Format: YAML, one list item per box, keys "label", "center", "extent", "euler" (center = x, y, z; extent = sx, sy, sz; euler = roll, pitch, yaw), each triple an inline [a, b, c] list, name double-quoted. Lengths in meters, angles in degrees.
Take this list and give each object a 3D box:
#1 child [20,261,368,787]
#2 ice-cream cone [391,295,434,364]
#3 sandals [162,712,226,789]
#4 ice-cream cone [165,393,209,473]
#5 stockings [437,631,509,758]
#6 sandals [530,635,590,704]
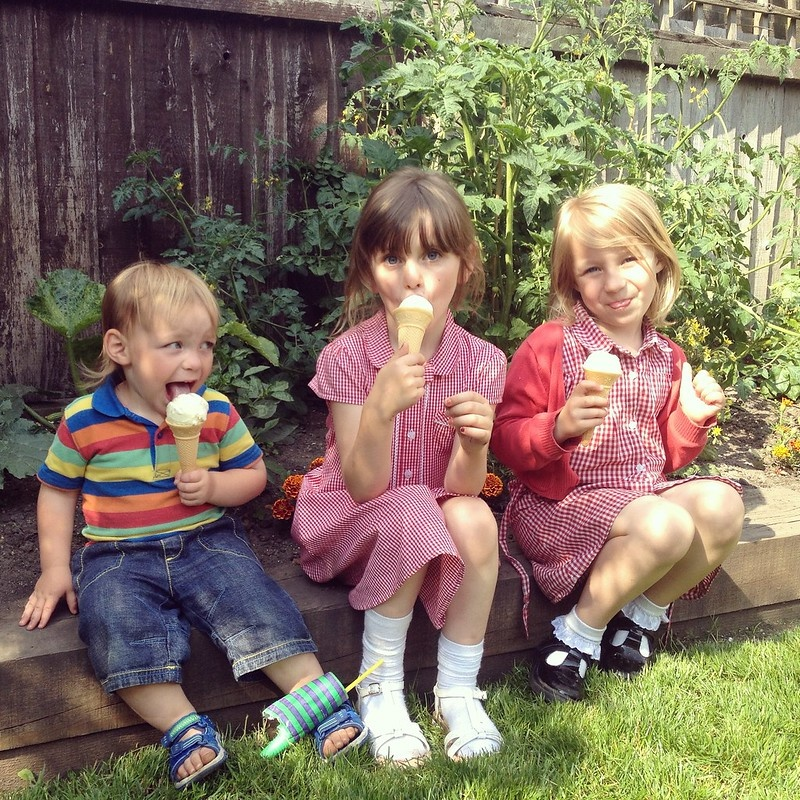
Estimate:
- label: "child"
  center: [-0.519, 0.278, 2.143]
  extent: [1.127, 1.232, 0.737]
  euler: [15, 13, 41]
- label: "ice-cream cone"
  center: [0.035, -0.208, 2.114]
  extent: [0.098, 0.139, 0.172]
  euler: [7, 16, 11]
- label: "sandals"
  center: [-0.508, 0.848, 1.925]
  extent: [0.094, 0.097, 0.213]
  euler: [-33, -1, -3]
- label: "ice-cream cone"
  center: [-0.589, 0.099, 2.149]
  extent: [0.105, 0.238, 0.136]
  euler: [-1, 17, -16]
- label: "stockings"
  center: [0.172, 0.818, 2.116]
  extent: [0.122, 0.194, 0.288]
  euler: [0, -5, -10]
- label: "sandals"
  center: [0.482, 0.816, 2.362]
  extent: [0.101, 0.087, 0.209]
  euler: [31, 14, -15]
